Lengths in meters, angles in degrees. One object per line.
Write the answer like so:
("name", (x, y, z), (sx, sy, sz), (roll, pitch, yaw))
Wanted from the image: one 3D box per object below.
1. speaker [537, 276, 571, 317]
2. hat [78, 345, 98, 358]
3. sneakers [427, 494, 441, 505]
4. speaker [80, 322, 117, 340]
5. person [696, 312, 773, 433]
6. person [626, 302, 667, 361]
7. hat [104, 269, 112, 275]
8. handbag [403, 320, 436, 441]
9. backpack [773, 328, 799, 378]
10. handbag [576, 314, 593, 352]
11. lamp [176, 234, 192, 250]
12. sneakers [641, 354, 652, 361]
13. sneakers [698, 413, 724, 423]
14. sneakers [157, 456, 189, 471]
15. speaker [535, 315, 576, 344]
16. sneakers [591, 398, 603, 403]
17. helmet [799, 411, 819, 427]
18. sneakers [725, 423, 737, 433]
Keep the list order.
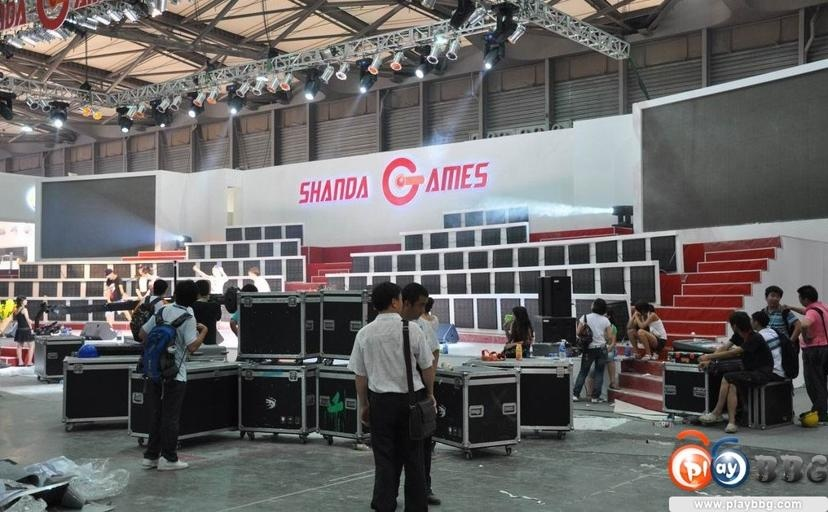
("speaker", (3.428, 0.990, 18.882), (1.014, 0.900, 0.520), (-3, -5, 25))
("hat", (-6.979, 2.058, 16.725), (0.340, 0.191, 0.325), (-3, 1, -2))
("sneakers", (0.341, 4.045, 12.912), (0.135, 0.133, 0.332), (4, -10, -41))
("speaker", (-9.531, 2.292, 23.584), (0.743, 0.434, 0.627), (3, 7, 45))
("person", (6.519, 2.314, 15.656), (1.321, 2.380, 0.669), (-4, -5, 22))
("person", (5.527, 1.772, 18.526), (0.846, 1.323, 0.349), (-3, -5, 15))
("hat", (-12.010, 0.634, 30.677), (0.251, 0.202, 0.286), (-4, -1, 23))
("handbag", (0.080, 1.937, 12.232), (0.456, 1.854, 0.197), (1, -6, -30))
("backpack", (7.622, 2.012, 15.809), (0.572, 0.959, 0.208), (3, -7, -41))
("handbag", (3.908, 1.792, 17.775), (0.424, 0.987, 0.887), (1, -3, 2))
("lamp", (-9.677, -0.598, 32.789), (0.581, 0.702, 1.629), (0, -5, -17))
("sneakers", (5.496, 2.400, 18.400), (0.157, 0.181, 0.449), (1, -1, 15))
("sneakers", (6.055, 3.300, 15.840), (0.421, 0.160, 0.190), (4, -11, -16))
("sneakers", (-4.341, 3.760, 14.109), (0.612, 0.222, 0.211), (3, -4, -18))
("speaker", (3.491, 1.935, 18.956), (1.160, 0.689, 0.628), (0, -7, 1))
("sneakers", (4.258, 3.345, 18.004), (0.336, 0.128, 0.110), (0, -1, -27))
("helmet", (7.974, 3.286, 15.679), (0.351, 0.240, 0.322), (-17, 9, 1))
("sneakers", (6.292, 3.406, 15.457), (0.221, 0.183, 0.282), (-4, -5, 22))
